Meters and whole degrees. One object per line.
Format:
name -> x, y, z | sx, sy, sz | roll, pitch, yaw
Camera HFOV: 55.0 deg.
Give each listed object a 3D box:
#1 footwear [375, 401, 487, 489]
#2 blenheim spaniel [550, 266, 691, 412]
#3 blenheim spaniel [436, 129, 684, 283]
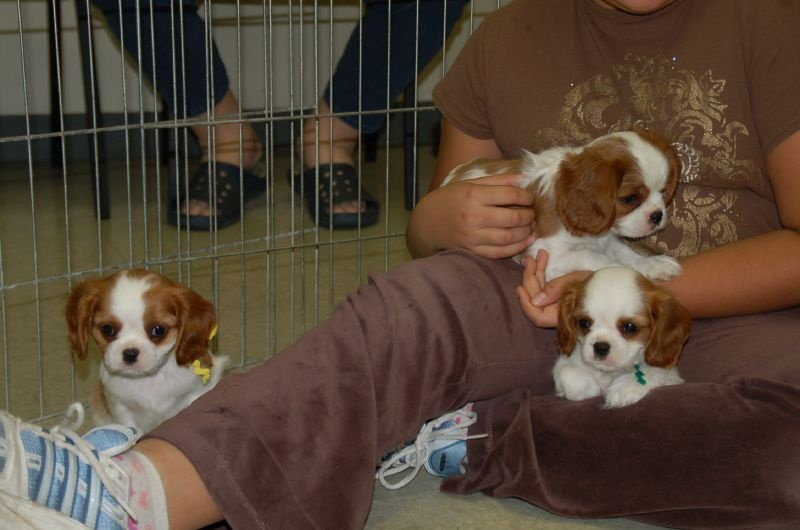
footwear -> 0.142, 0.777, 3.335 | 0.429, 0.260, 0.167 | -4, -27, -36
blenheim spaniel -> 0.966, 0.277, 3.392 | 0.570, 0.565, 0.786 | 0, 25, 18
blenheim spaniel -> 0.805, -0.400, 3.588 | 0.833, 0.491, 0.619 | 15, 32, 29
